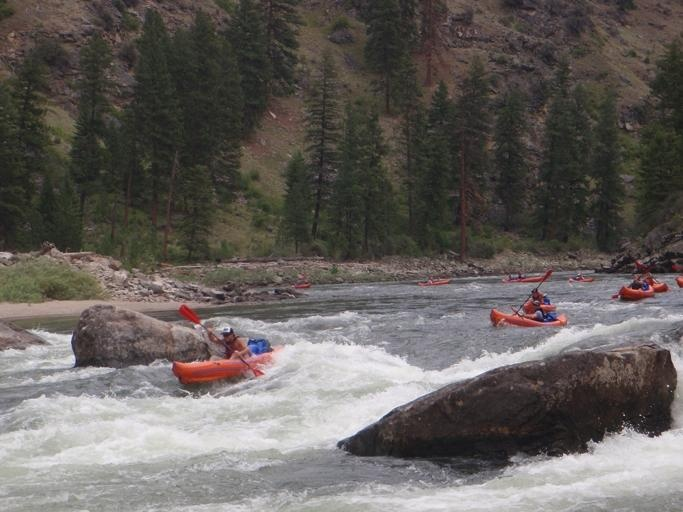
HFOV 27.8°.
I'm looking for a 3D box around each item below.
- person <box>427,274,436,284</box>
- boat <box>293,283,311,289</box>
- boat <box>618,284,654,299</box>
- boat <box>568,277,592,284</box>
[{"bbox_3d":[8.889,2.380,138.104,0.951,0.703,2.217,-3,8,3],"label":"person"},{"bbox_3d":[-3.929,3.053,134.321,1.831,0.457,0.566,-6,9,-22],"label":"boat"},{"bbox_3d":[26.650,3.386,124.003,2.664,0.951,1.294,-8,7,-37],"label":"boat"},{"bbox_3d":[23.110,2.392,133.552,2.399,0.510,1.814,2,-1,14],"label":"boat"}]
